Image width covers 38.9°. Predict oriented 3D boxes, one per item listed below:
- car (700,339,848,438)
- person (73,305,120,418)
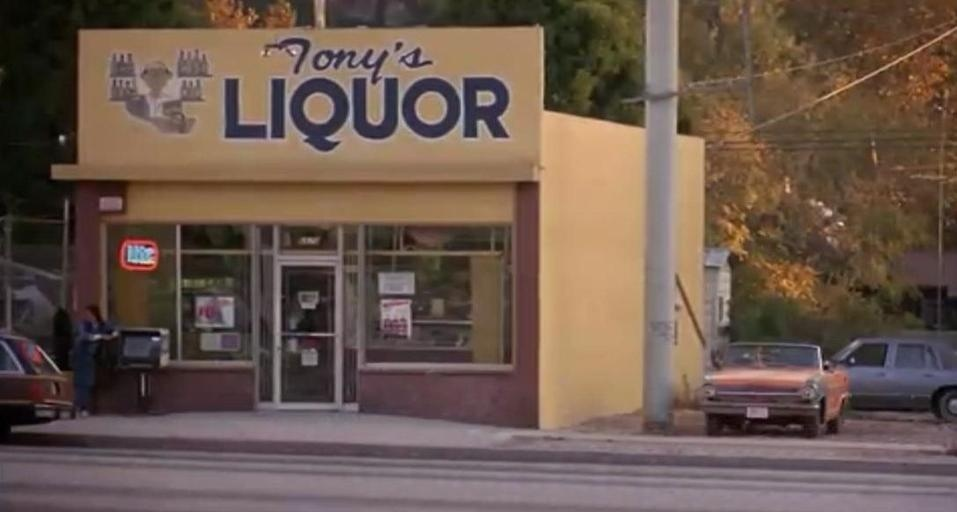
[{"bbox_3d":[8.752,4.078,40.288,4.128,2.569,2.245,3,10,8],"label":"car"},{"bbox_3d":[-11.807,3.139,41.043,1.312,3.210,0.999,-6,13,-36],"label":"person"}]
